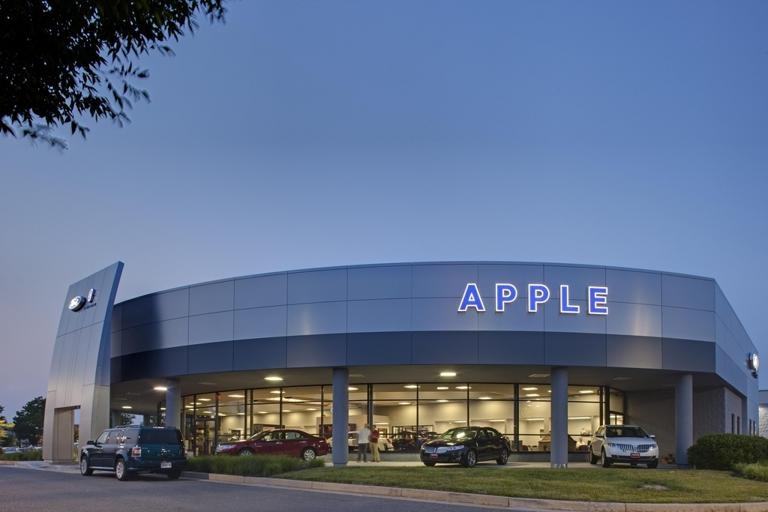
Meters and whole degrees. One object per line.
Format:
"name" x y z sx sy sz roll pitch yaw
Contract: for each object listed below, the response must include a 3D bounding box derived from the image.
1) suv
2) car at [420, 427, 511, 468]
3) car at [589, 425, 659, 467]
"suv" -10.795 7.993 30.907 4.169 1.659 2.346 -5 -11 44
"car" 3.790 8.902 34.431 1.798 1.295 4.010 -13 -21 39
"car" 10.863 8.721 33.826 2.223 2.030 3.119 0 -19 2
